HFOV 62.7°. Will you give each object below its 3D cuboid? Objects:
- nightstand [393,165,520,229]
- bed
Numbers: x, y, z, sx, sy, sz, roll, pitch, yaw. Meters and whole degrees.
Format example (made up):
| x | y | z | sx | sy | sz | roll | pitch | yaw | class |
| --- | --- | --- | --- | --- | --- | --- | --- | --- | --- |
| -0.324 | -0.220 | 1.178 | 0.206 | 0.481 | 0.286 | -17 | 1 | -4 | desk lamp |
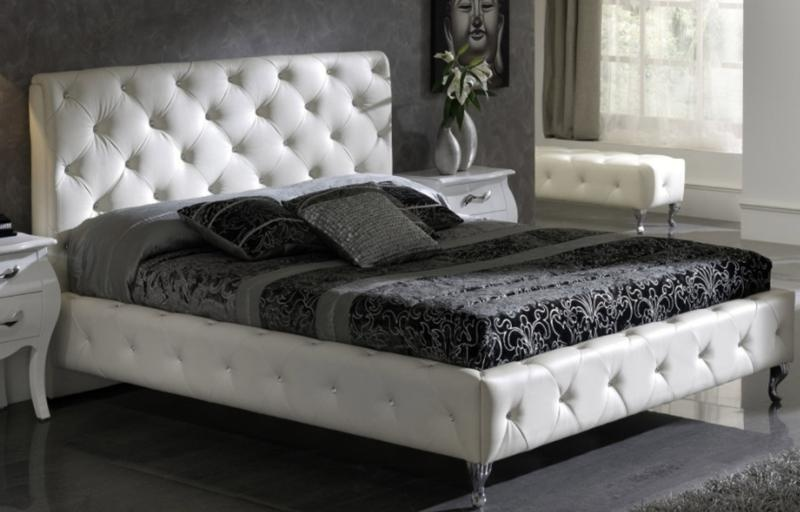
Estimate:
| x | y | z | sx | sy | sz | roll | pitch | yaw | class |
| --- | --- | --- | --- | --- | --- | --- | --- | --- | --- |
| 0.416 | -0.606 | 4.742 | 0.485 | 0.630 | 0.669 | 10 | 18 | 39 | nightstand |
| -0.101 | -0.020 | 3.307 | 2.887 | 1.810 | 2.650 | 7 | 14 | 39 | bed |
